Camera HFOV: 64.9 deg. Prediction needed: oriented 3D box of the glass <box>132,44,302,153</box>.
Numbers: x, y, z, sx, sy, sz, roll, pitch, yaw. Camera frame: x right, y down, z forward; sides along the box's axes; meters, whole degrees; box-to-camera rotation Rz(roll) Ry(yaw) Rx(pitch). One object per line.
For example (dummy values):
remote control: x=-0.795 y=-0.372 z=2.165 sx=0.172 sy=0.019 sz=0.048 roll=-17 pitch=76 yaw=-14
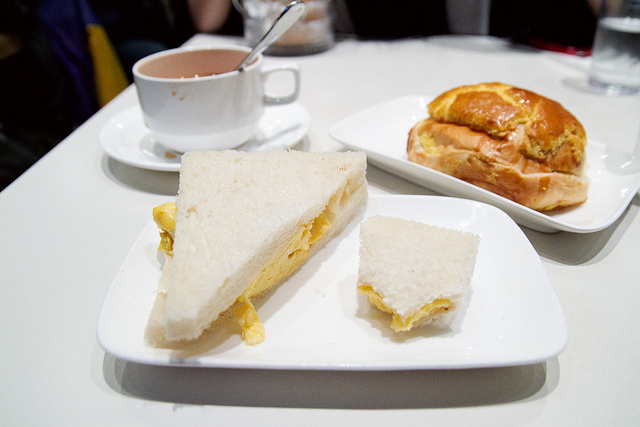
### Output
glass: x=-0.259 y=-0.309 z=1.347 sx=0.432 sy=0.214 sz=0.313 roll=-12 pitch=35 yaw=-18

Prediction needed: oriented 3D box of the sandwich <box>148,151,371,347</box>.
sandwich: x=-0.148 y=0.022 z=0.994 sx=0.382 sy=0.121 sz=0.394 roll=-2 pitch=56 yaw=-11

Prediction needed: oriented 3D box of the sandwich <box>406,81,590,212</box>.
sandwich: x=0.428 y=-0.165 z=1.178 sx=0.415 sy=0.152 sz=0.238 roll=24 pitch=61 yaw=24

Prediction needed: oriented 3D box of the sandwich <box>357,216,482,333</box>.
sandwich: x=0.161 y=0.081 z=1.055 sx=0.227 sy=0.192 sz=0.303 roll=11 pitch=15 yaw=36
